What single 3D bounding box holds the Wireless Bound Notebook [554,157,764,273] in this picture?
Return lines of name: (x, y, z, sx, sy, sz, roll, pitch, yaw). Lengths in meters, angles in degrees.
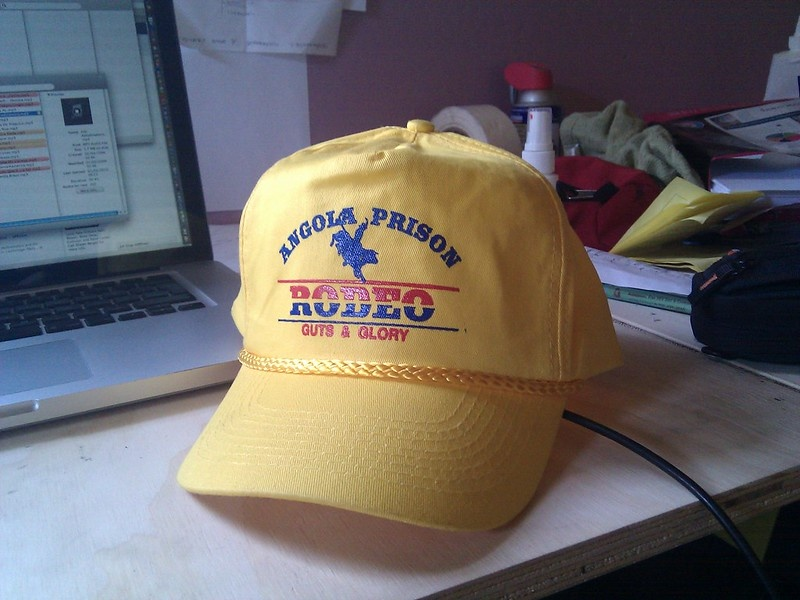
Wireless Bound Notebook: (0.330, -0.109, 0.849, 0.159, 0.073, 0.211, -18, 6, -37)
